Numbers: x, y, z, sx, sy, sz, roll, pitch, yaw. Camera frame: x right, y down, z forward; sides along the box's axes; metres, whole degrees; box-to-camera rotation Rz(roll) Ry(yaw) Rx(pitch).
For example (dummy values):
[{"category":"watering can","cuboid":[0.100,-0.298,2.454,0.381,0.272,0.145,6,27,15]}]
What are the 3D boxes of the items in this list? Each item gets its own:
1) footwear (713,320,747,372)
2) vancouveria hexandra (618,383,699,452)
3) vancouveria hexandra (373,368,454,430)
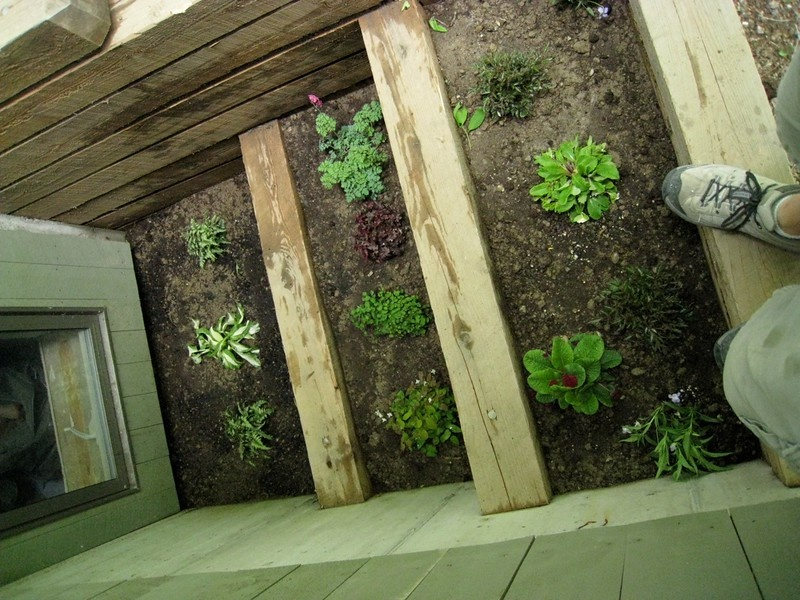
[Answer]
[{"category":"footwear","cuboid":[1.407,0.208,2.630,0.080,0.222,0.161,37,-38,-22]},{"category":"vancouveria hexandra","cuboid":[1.275,0.598,2.982,0.352,0.215,0.129,-55,-13,-4]},{"category":"vancouveria hexandra","cuboid":[0.121,0.600,3.535,0.380,0.308,0.075,-16,-4,18]}]
